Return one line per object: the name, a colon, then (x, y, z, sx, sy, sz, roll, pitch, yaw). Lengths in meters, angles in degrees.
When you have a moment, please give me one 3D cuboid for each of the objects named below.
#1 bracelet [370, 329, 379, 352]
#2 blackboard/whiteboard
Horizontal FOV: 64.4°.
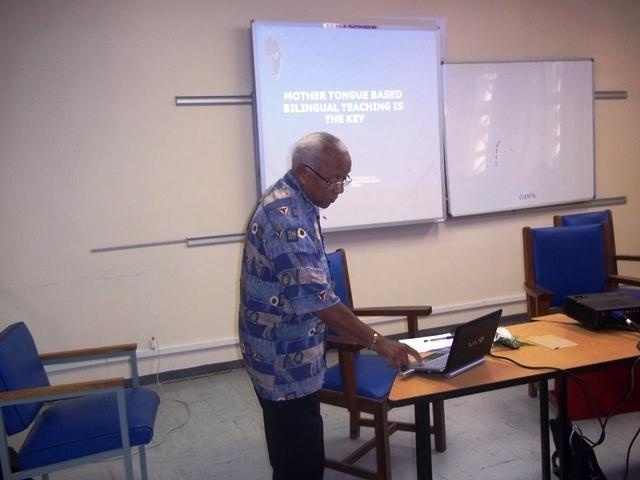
bracelet: (0.236, 0.437, 2.208, 0.039, 0.076, 0.076, 6, 40, 7)
blackboard/whiteboard: (1.749, -0.972, 4.637, 1.267, 1.197, 0.150, -6, 6, -14)
